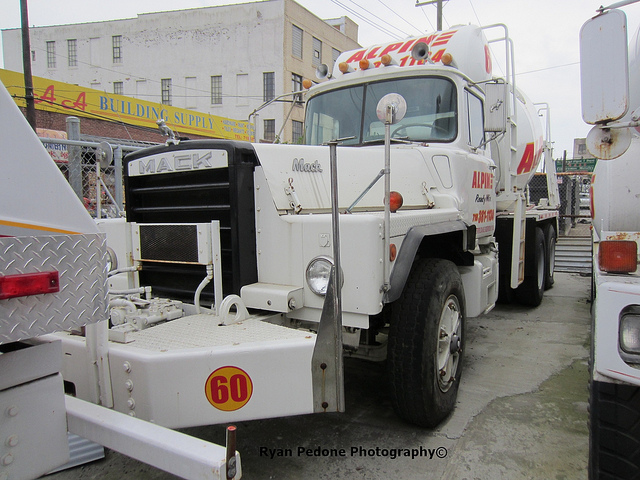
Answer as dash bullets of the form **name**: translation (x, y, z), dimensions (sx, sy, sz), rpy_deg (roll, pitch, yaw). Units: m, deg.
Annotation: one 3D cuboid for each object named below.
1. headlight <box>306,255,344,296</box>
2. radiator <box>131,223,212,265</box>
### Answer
- **headlight**: translation (-0.007, 0.238, 3.513), dimensions (0.233, 0.288, 0.067), rpy_deg (9, 13, 24)
- **radiator**: translation (-1.161, 0.027, 3.824), dimensions (0.918, 0.330, 0.077), rpy_deg (4, 8, 36)
